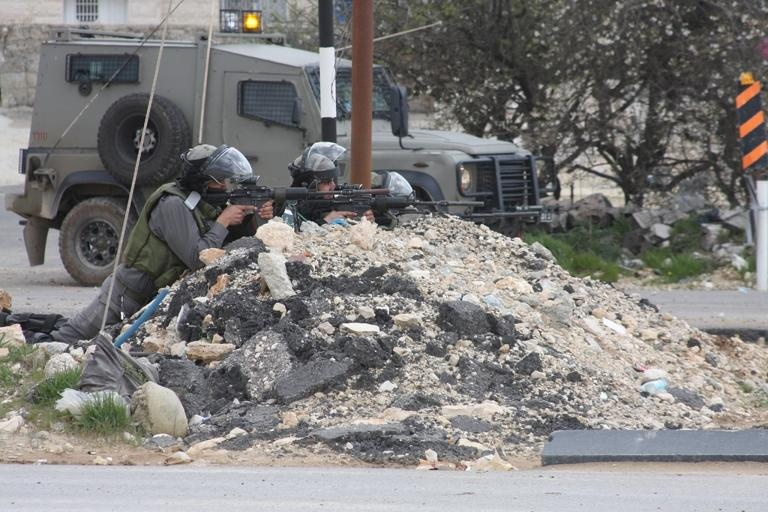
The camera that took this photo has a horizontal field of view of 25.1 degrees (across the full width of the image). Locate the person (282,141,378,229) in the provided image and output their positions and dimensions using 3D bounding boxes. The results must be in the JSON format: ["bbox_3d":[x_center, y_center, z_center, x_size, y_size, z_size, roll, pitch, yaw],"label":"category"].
[{"bbox_3d":[-0.749,-0.812,25.478,1.912,0.737,0.423,0,26,-35],"label":"person"}]
